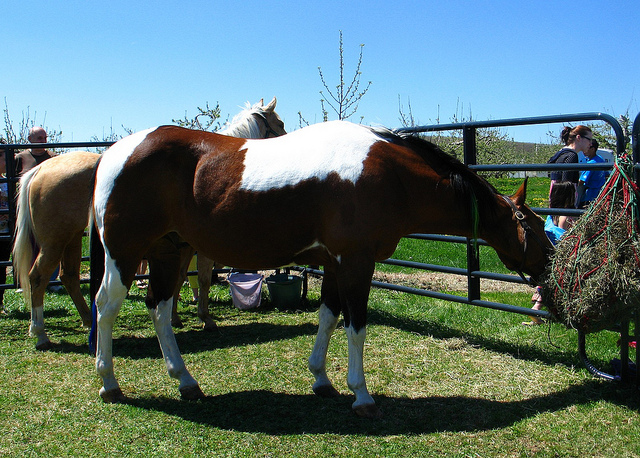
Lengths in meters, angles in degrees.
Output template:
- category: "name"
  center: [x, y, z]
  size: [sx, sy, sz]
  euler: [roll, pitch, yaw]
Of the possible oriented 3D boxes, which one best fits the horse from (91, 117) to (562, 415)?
- category: "horse"
  center: [-0.194, 0.303, 4.836]
  size: [3.962, 2.446, 0.735]
  euler: [-1, 9, 4]
